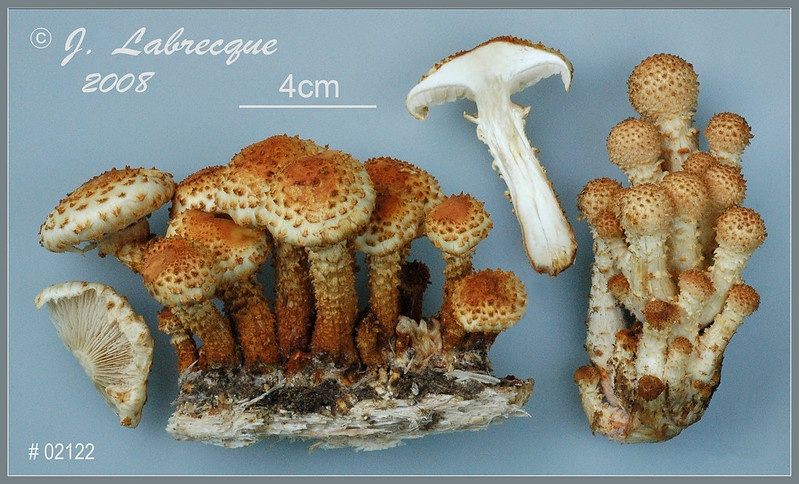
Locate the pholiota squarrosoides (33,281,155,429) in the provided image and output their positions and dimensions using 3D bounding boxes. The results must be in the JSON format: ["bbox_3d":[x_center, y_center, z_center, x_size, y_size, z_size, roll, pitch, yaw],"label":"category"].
[{"bbox_3d":[-1.974,0.738,7.707,0.643,0.922,0.247,-10,-1,-14],"label":"pholiota squarrosoides"}]

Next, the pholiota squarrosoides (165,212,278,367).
[{"bbox_3d":[-1.114,0.344,7.545,0.487,1.207,0.536,4,4,-8],"label":"pholiota squarrosoides"}]
